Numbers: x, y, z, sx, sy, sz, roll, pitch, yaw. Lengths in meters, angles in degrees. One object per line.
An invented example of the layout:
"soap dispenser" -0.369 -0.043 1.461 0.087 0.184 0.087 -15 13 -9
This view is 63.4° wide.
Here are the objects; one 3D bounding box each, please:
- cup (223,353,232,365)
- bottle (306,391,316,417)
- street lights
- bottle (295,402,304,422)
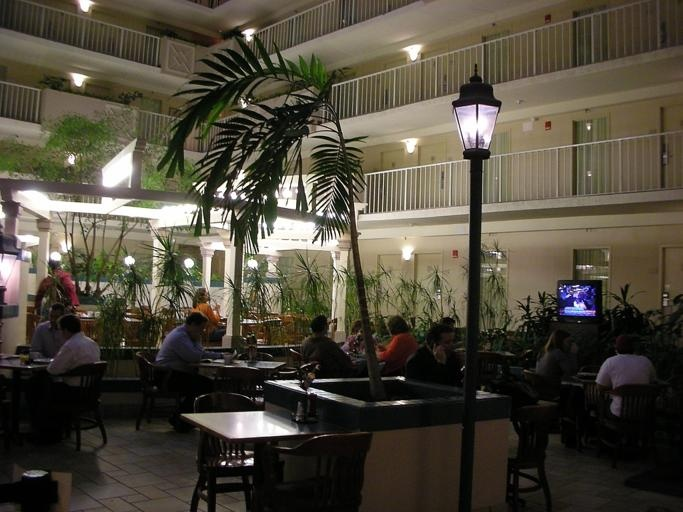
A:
"cup" -1.726 1.571 8.458 0.105 0.111 0.130 4 0 -40
"bottle" -0.268 1.404 5.182 0.094 0.182 0.088 2 -1 0
"street lights" 1.201 0.275 5.131 0.418 4.262 0.617 2 -1 14
"bottle" -0.384 1.448 5.169 0.077 0.153 0.182 2 -1 -4
